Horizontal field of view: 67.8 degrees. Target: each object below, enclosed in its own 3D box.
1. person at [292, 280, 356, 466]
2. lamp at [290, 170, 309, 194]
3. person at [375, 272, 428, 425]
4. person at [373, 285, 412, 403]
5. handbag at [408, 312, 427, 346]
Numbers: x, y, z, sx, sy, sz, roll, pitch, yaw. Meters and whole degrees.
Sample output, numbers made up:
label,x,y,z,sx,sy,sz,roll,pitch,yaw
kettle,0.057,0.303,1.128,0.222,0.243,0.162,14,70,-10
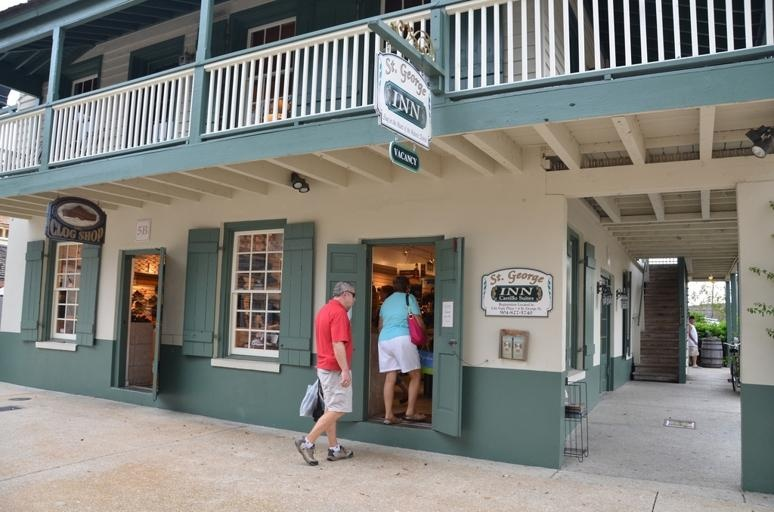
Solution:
label,x,y,z,sx,sy,sz,roll,pitch,yaw
person,-0.819,1.642,8.111,0.724,2.525,0.560,2,3,-1
lamp,-1.456,-1.224,9.637,0.261,0.323,0.417,2,3,4
person,0.262,1.477,9.163,0.800,2.271,0.554,2,3,-1
person,0.348,1.750,11.034,1.040,1.873,0.487,3,3,34
handbag,0.462,1.162,9.071,0.298,0.501,0.188,1,3,-10
